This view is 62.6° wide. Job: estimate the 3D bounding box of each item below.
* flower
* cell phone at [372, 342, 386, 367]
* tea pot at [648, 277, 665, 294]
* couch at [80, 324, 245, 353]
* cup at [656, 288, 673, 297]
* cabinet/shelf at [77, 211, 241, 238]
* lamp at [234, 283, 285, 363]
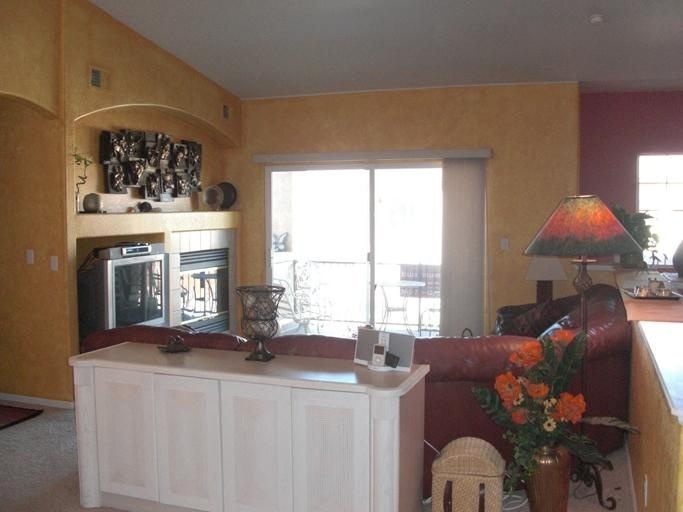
[{"bbox_3d":[1.365,0.993,3.314,0.873,0.949,0.768,-5,8,-12],"label":"flower"},{"bbox_3d":[0.225,0.580,3.307,0.081,0.104,0.046,1,0,14],"label":"cell phone"},{"bbox_3d":[2.675,0.245,4.772,0.114,0.122,0.216,0,11,15],"label":"tea pot"},{"bbox_3d":[-1.234,0.598,3.907,1.334,0.197,0.252,1,0,22],"label":"couch"},{"bbox_3d":[2.705,0.303,4.695,0.075,0.050,0.079,-3,2,0],"label":"cup"},{"bbox_3d":[-1.932,-0.383,6.183,0.182,0.393,2.383,1,0,20],"label":"cabinet/shelf"},{"bbox_3d":[-0.501,0.417,3.450,0.309,0.419,0.314,0,-2,41],"label":"lamp"}]
